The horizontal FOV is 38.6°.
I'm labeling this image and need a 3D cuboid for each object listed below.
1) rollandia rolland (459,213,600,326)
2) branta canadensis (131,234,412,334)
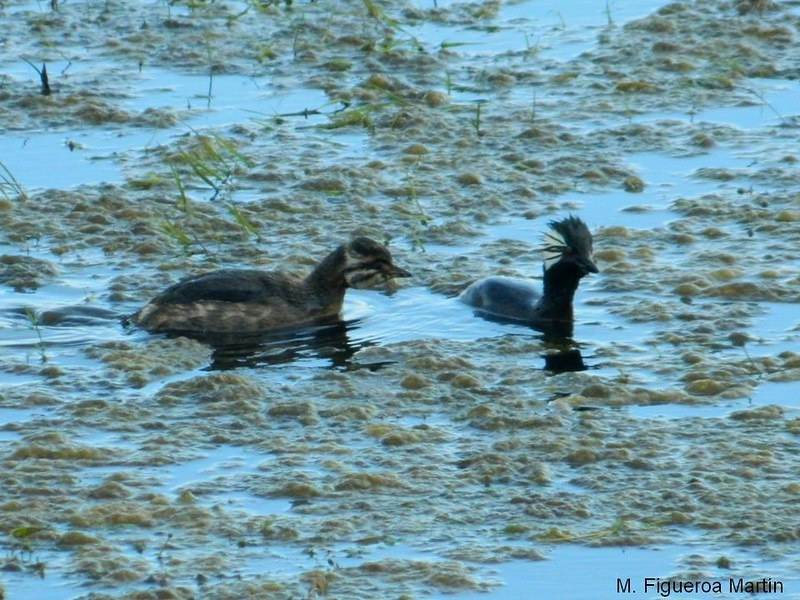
[{"bbox_3d":[1.421,-0.302,11.652,1.246,0.951,2.098,-6,7,-21],"label":"rollandia rolland"},{"bbox_3d":[-1.579,-0.051,11.403,3.158,0.770,0.667,-6,38,-13],"label":"branta canadensis"}]
